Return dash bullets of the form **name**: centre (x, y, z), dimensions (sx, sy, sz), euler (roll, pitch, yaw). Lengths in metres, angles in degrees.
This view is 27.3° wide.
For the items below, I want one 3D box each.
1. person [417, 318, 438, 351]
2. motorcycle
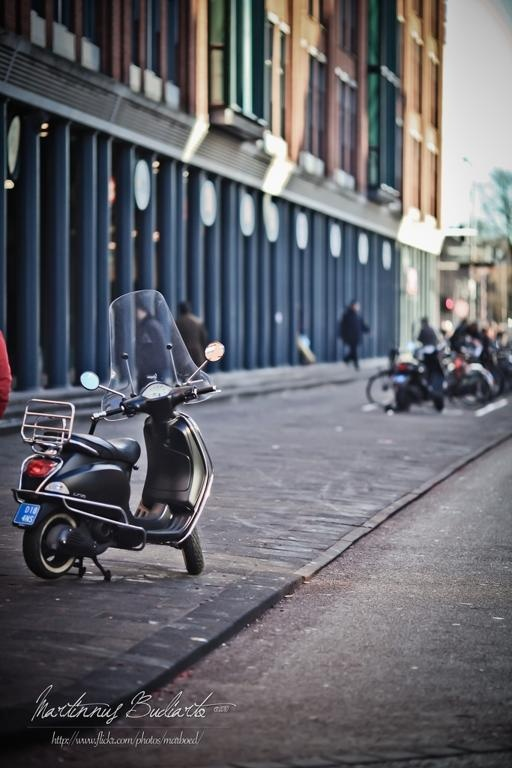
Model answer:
- **person**: centre (2.821, -0.811, 17.075), dimensions (0.307, 0.422, 0.905), euler (13, 7, 3)
- **motorcycle**: centre (-0.940, 0.330, 5.852), dimensions (0.909, 1.751, 1.500), euler (3, 4, 36)
